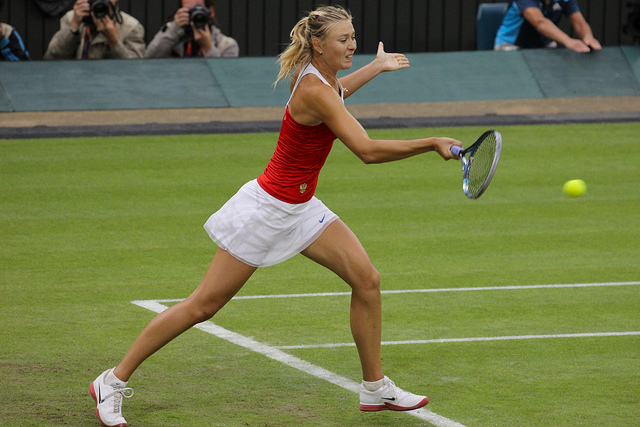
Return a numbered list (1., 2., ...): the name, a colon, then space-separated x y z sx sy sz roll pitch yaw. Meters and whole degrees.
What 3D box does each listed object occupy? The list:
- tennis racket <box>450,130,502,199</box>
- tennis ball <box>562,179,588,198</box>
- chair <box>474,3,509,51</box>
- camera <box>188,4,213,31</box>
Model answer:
1. tennis racket: 1.463 -0.437 11.387 0.305 0.640 0.538 2 19 2
2. tennis ball: 2.845 -0.274 13.925 0.265 0.153 0.228 -9 2 -18
3. chair: 2.516 -2.739 18.302 0.557 0.733 0.376 10 21 23
4. camera: -1.655 -2.717 17.198 0.312 0.175 0.309 4 18 -11
